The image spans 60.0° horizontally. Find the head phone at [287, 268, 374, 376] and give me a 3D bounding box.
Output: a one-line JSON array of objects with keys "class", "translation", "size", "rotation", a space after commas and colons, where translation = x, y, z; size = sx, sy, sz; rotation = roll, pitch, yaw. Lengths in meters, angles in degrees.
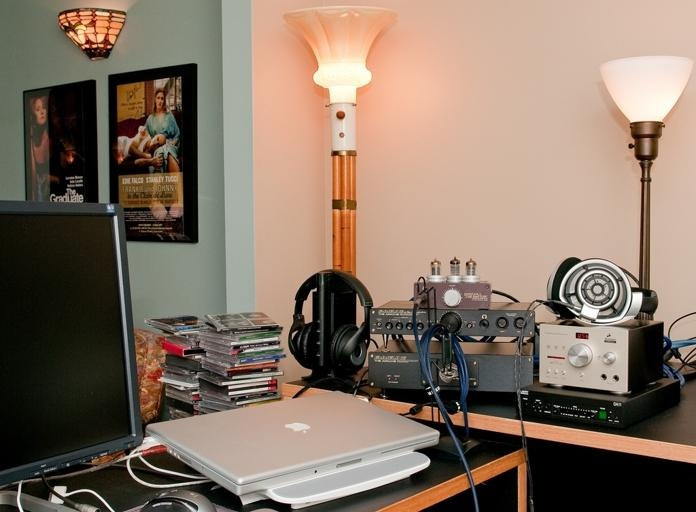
[{"class": "head phone", "translation": [-0.026, 0.231, 2.062], "size": [0.355, 0.368, 0.256], "rotation": [4, 10, 29]}]

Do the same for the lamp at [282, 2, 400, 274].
[{"class": "lamp", "translation": [-0.026, -0.490, 2.723], "size": [0.485, 1.159, 0.204], "rotation": [-2, 9, -6]}]

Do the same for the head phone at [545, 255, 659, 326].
[{"class": "head phone", "translation": [0.763, 0.115, 1.798], "size": [0.345, 0.175, 0.301], "rotation": [12, 1, -28]}]

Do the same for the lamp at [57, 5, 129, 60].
[{"class": "lamp", "translation": [-1.485, -1.290, 3.502], "size": [0.369, 0.227, 0.295], "rotation": [2, 3, 28]}]
